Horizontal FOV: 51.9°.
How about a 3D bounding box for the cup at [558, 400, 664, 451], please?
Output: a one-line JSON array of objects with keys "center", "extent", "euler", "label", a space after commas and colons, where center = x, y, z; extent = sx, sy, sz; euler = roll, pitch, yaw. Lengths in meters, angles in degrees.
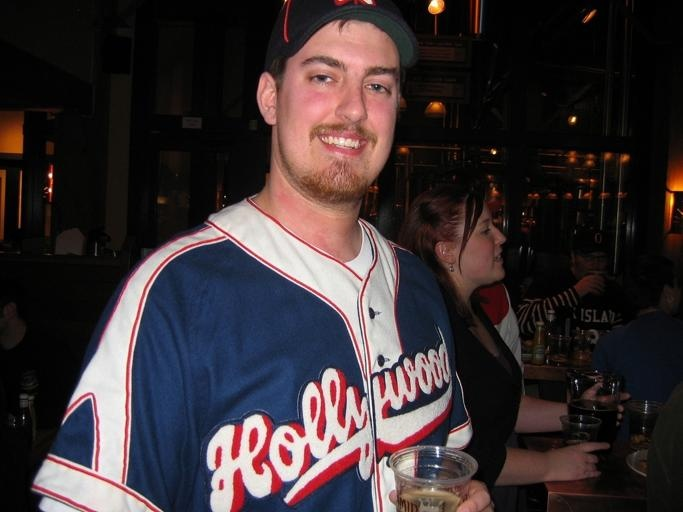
[{"center": [1.355, 0.842, 3.572], "extent": [0.326, 0.276, 0.286], "euler": [14, -23, -21], "label": "cup"}]
